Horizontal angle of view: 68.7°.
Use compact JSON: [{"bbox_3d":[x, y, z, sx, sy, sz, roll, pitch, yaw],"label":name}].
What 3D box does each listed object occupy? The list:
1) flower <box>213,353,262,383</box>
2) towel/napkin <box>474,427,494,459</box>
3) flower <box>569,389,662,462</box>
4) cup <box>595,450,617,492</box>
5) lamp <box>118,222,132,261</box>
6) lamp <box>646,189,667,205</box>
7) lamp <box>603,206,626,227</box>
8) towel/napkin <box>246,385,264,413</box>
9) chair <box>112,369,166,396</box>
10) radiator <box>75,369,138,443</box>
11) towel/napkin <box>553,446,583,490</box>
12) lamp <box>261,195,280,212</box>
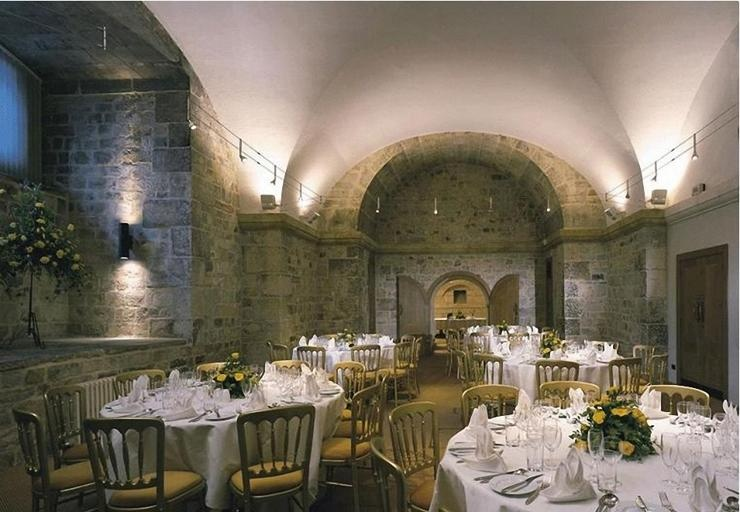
[{"bbox_3d":[-1.500,1.349,6.374,0.398,0.301,0.408,-1,-7,21],"label":"flower"},{"bbox_3d":[0.971,1.665,4.850,0.231,0.250,0.218,6,-7,5],"label":"towel/napkin"},{"bbox_3d":[2.177,1.513,4.892,0.642,0.643,0.664,2,-7,40],"label":"flower"},{"bbox_3d":[1.964,1.778,4.494,0.161,0.334,0.170,1,-7,0],"label":"cup"},{"bbox_3d":[-4.010,-0.256,8.898,0.197,0.598,0.172,1,-7,-3],"label":"lamp"},{"bbox_3d":[5.360,-1.101,10.093,0.304,0.276,0.534,-4,-9,28],"label":"lamp"},{"bbox_3d":[5.118,-0.842,11.451,0.380,0.279,0.567,1,1,-2],"label":"lamp"},{"bbox_3d":[-1.245,1.558,5.908,0.242,0.345,0.241,2,-6,-9],"label":"towel/napkin"},{"bbox_3d":[-2.894,1.589,6.765,0.411,0.523,0.348,0,-11,-5],"label":"chair"},{"bbox_3d":[-3.052,1.740,6.228,0.122,1.076,0.965,-4,-5,28],"label":"radiator"},{"bbox_3d":[1.631,1.759,4.467,0.260,0.328,0.100,3,-7,-17],"label":"towel/napkin"},{"bbox_3d":[-1.900,-1.008,10.336,0.297,0.374,0.308,0,-4,-13],"label":"lamp"}]
